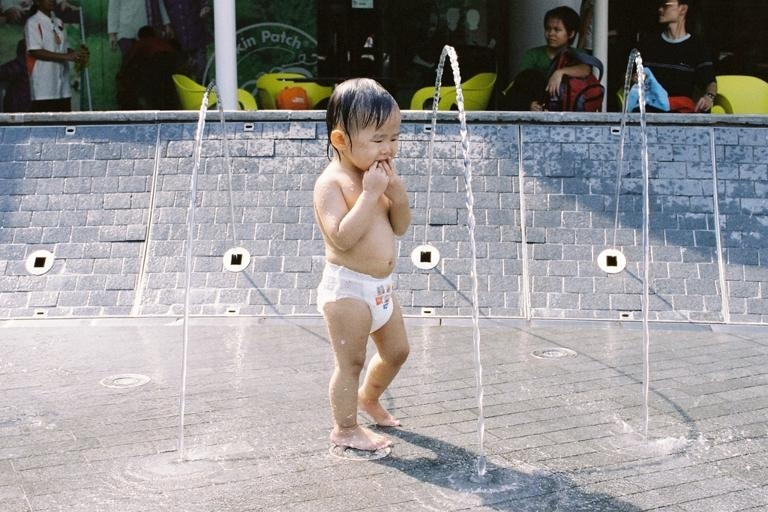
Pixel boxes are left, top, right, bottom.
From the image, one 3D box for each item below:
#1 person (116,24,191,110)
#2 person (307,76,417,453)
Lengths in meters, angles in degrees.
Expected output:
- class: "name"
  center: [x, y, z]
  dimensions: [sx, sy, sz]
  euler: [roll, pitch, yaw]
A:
- class: "person"
  center: [-3.987, -3.104, 11.615]
  dimensions: [0.866, 1.673, 0.461]
  euler: [-10, 50, -32]
- class: "person"
  center: [-0.127, 0.049, 4.381]
  dimensions: [0.609, 2.362, 0.394]
  euler: [-3, 6, -29]
